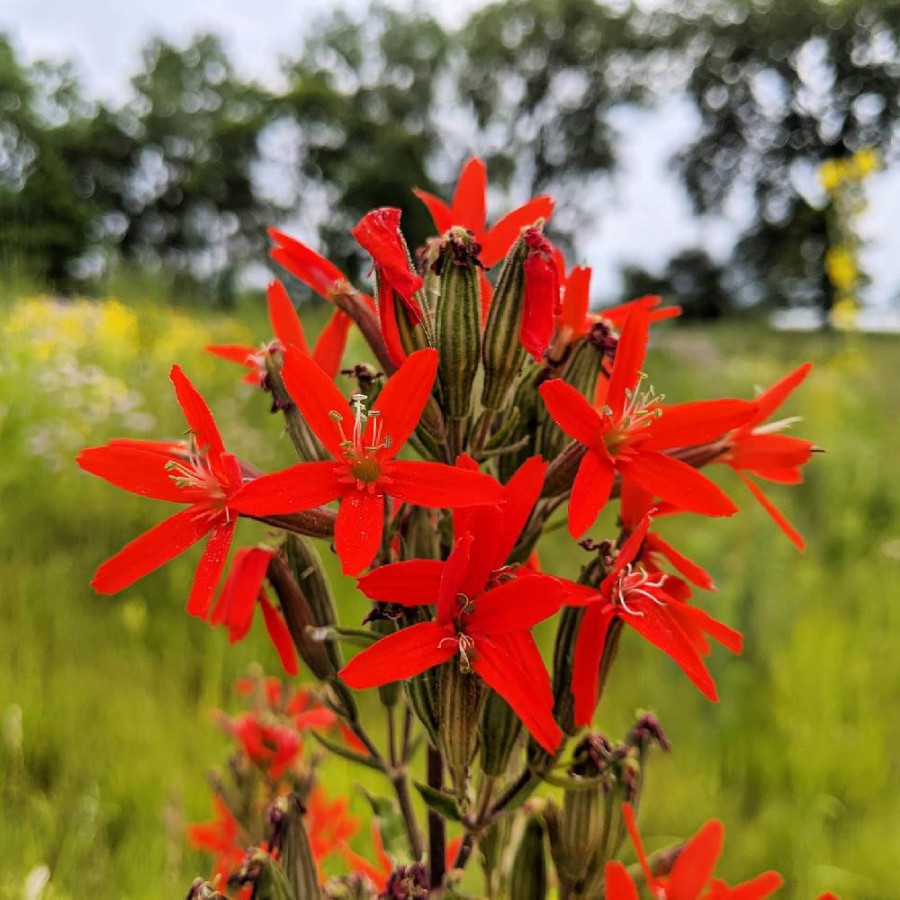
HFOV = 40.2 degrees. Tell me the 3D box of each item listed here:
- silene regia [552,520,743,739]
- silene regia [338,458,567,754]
[{"bbox_3d":[0.373,0.296,2.214,0.314,0.367,0.390,9,23,13],"label":"silene regia"},{"bbox_3d":[0.023,0.259,2.103,0.373,0.460,0.273,6,23,4],"label":"silene regia"}]
